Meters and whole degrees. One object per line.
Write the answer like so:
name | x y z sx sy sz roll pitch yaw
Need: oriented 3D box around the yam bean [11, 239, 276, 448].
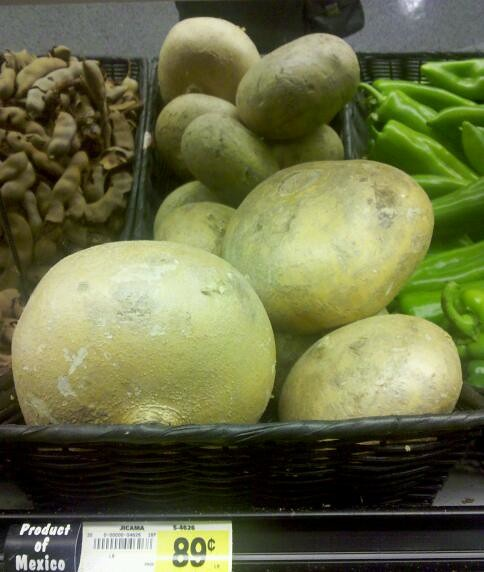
yam bean | -0.093 0.077 0.690 0.229 0.196 0.184 -1 70 -2

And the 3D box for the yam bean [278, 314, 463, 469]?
yam bean | 0.162 0.109 0.734 0.198 0.254 0.138 -13 102 13

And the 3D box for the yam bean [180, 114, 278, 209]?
yam bean | -0.015 -0.181 0.934 0.090 0.155 0.083 45 90 2
